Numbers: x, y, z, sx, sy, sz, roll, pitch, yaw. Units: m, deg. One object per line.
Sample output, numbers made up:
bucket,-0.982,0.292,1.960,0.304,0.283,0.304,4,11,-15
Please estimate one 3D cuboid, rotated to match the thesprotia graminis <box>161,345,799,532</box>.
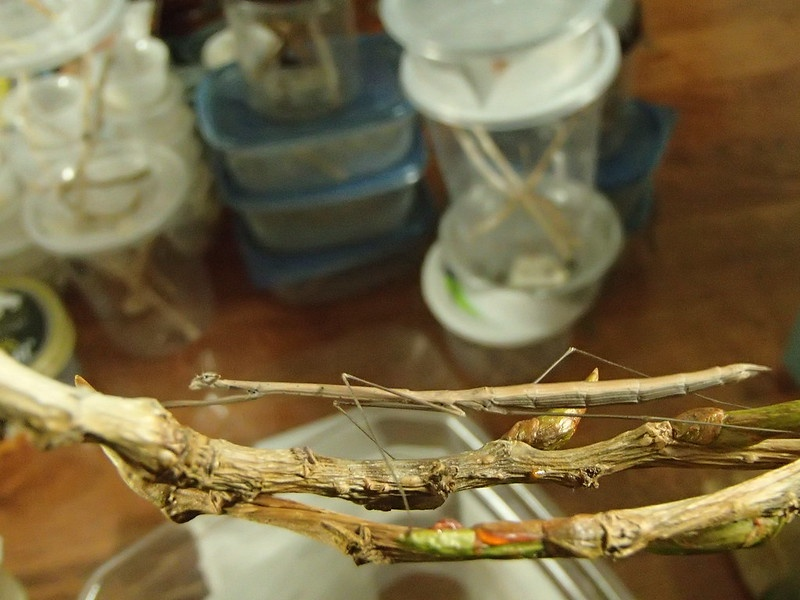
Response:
thesprotia graminis,0.127,0.117,0.907,0.727,0.205,0.161,-2,92,0
